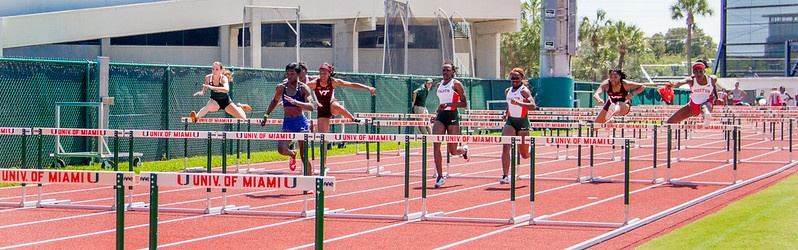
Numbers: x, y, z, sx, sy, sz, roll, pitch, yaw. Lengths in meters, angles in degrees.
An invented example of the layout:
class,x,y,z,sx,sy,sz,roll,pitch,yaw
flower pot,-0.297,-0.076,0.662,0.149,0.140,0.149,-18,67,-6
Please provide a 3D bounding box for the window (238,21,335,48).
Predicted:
class,x,y,z,sx,sy,sz,roll,pitch,yaw
window,-12.325,-10.878,94.053,12.817,2.937,0.384,6,10,39

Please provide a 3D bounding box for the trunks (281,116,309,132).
class,x,y,z,sx,sy,sz,roll,pitch,yaw
trunks,-8.869,0.043,66.872,2.976,1.332,1.401,0,-7,-3
